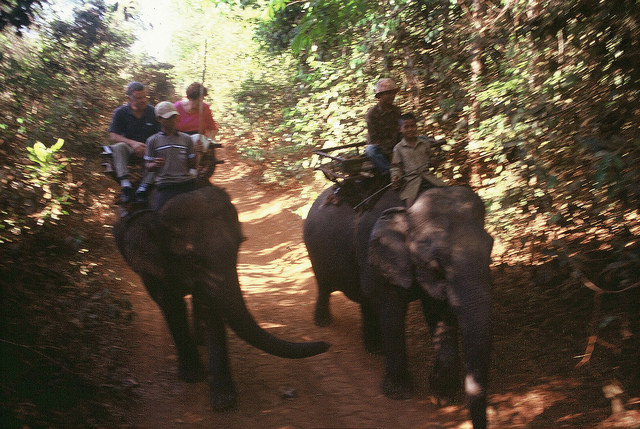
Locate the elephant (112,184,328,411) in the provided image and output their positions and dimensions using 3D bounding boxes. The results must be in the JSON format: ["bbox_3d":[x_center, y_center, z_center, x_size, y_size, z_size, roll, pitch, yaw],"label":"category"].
[{"bbox_3d":[-1.169,0.963,5.986,1.140,2.495,1.945,-23,25,-37],"label":"elephant"}]

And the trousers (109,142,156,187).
[{"bbox_3d":[-2.179,-0.581,6.462,0.384,0.458,0.673,-12,18,-20],"label":"trousers"}]
